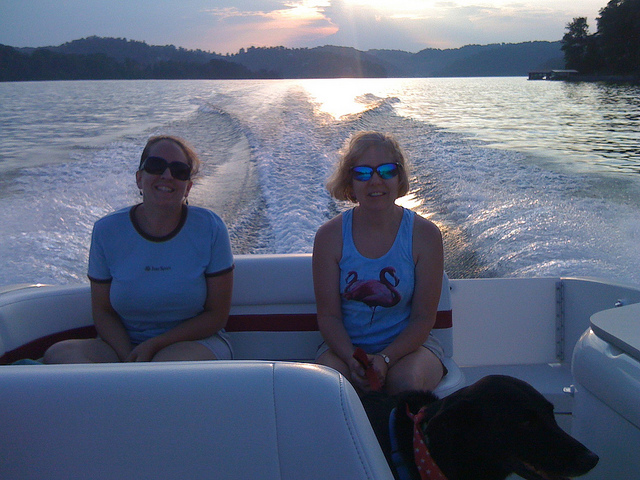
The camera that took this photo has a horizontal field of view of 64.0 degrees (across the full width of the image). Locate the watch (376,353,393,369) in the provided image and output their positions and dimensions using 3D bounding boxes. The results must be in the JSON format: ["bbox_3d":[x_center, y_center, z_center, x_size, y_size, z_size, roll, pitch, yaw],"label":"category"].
[{"bbox_3d":[0.265,0.488,2.110,0.060,0.063,0.037,31,21,29],"label":"watch"}]

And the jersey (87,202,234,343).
[{"bbox_3d":[-0.684,0.152,2.208,0.596,0.573,0.319,0,14,-11],"label":"jersey"}]

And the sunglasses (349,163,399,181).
[{"bbox_3d":[0.240,-0.307,2.302,0.226,0.076,0.135,2,11,7],"label":"sunglasses"}]
